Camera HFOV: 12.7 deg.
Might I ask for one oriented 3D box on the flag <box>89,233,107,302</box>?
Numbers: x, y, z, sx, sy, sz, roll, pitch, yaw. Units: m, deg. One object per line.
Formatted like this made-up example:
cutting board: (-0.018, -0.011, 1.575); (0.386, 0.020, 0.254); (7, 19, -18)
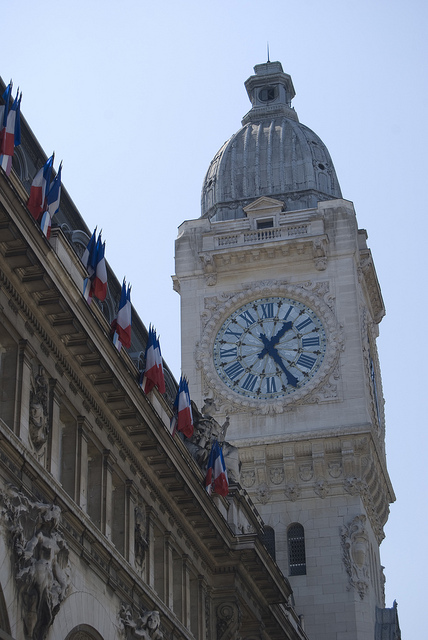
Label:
flag: (-3.361, -1.627, 55.463); (0.507, 2.132, 0.866); (3, -43, -4)

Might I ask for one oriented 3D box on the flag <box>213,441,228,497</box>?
flag: (0.241, 5.105, 66.086); (0.447, 1.481, 0.953); (-1, -43, 0)

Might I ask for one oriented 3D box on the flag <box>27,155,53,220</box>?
flag: (-4.694, -3.549, 52.133); (0.376, 2.023, 0.312); (20, -25, -14)

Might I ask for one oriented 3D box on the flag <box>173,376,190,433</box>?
flag: (-1.000, 2.835, 62.514); (0.475, 1.096, 0.880); (2, -44, -3)
